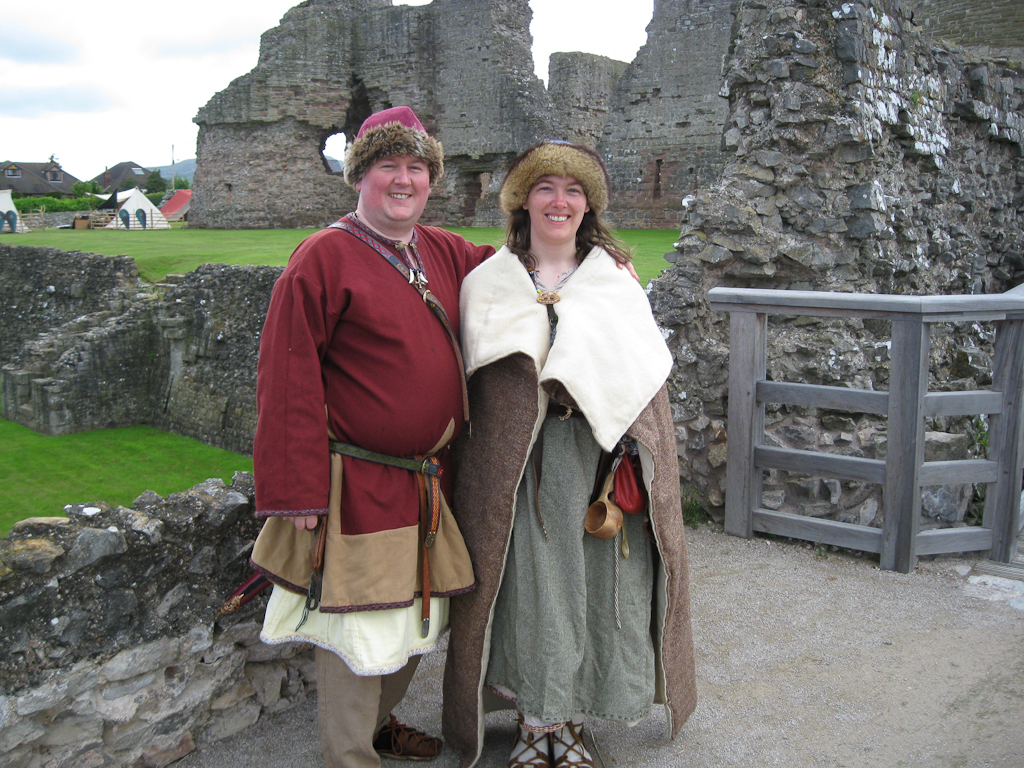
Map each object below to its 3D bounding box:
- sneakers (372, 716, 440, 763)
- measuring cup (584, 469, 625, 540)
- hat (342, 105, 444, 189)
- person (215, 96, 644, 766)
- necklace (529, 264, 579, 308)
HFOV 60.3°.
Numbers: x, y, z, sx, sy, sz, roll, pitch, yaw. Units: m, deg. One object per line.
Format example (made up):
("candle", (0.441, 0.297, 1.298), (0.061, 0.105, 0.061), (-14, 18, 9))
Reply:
("sneakers", (-0.422, 1.430, 3.558), (0.285, 0.138, 0.127), (1, 7, 11))
("measuring cup", (0.367, 0.470, 3.400), (0.106, 0.258, 0.085), (-9, -39, 39))
("hat", (-0.465, -0.911, 3.406), (0.326, 0.258, 0.311), (1, 5, 35))
("person", (-0.555, 0.001, 3.300), (0.874, 2.065, 0.528), (-4, 9, -22))
("necklace", (0.165, -0.385, 3.498), (0.184, 0.027, 0.206), (4, 50, 6))
